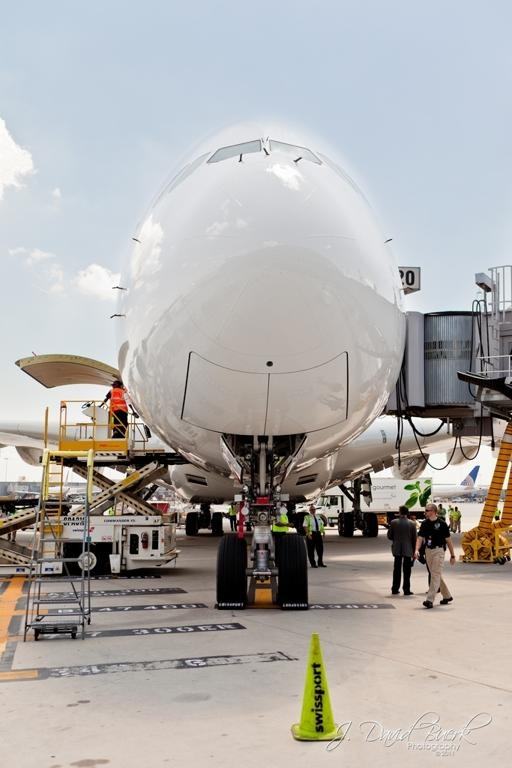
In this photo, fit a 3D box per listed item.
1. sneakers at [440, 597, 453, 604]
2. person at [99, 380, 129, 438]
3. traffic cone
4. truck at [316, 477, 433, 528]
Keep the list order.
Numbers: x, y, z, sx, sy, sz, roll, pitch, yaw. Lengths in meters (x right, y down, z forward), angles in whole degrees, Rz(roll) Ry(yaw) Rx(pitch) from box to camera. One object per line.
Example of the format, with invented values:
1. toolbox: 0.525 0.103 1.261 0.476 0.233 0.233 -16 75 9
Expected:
1. sneakers: 2.714 3.089 9.427 0.200 0.078 0.100 -4 -1 -28
2. person: -2.753 0.506 13.183 0.755 1.174 0.367 -1 0 2
3. traffic cone: 0.354 1.763 3.869 0.287 0.538 0.408 1 -5 4
4. truck: 8.884 7.902 42.883 2.339 3.331 7.353 20 -20 -37
